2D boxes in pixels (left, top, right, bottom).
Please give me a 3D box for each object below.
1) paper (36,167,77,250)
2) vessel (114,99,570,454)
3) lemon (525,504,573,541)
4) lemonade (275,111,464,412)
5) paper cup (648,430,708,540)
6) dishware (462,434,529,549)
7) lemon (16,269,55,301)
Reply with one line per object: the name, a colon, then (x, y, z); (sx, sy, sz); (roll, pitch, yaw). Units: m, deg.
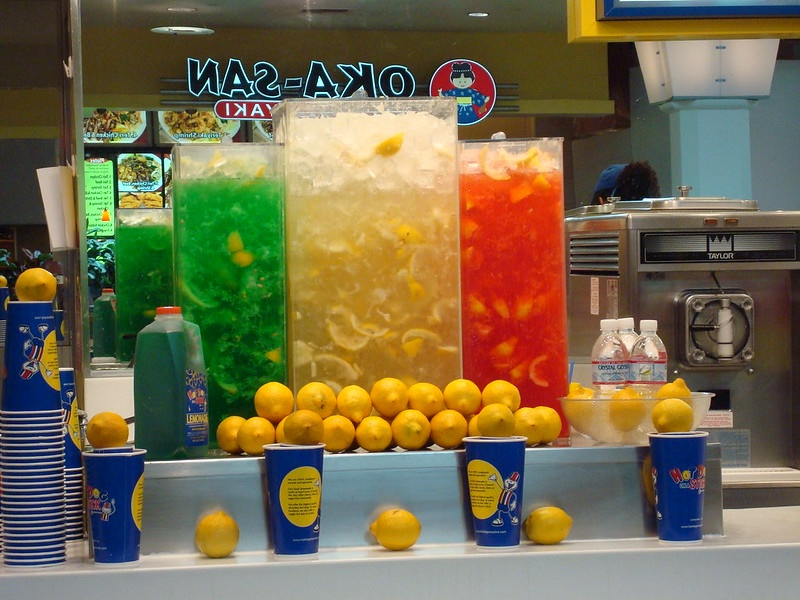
paper: (-0.871, -0.233, 2.199); (0.082, 0.168, 0.093); (-2, 1, -22)
vessel: (-0.124, -0.031, 2.034); (0.922, 0.887, 0.300); (-1, -1, -4)
lemon: (0.314, 0.466, 1.821); (0.086, 0.068, 0.067); (-3, -8, -2)
lemonade: (-0.057, -0.145, 2.544); (0.569, 1.101, 0.576); (-2, 1, -8)
paper cup: (0.593, 0.393, 1.861); (0.148, 0.229, 0.149); (1, -5, 0)
dishware: (0.196, 0.389, 1.809); (0.191, 0.276, 0.192); (0, 0, 7)
lemon: (-0.756, -0.031, 1.806); (0.071, 0.073, 0.066); (4, 12, -33)
